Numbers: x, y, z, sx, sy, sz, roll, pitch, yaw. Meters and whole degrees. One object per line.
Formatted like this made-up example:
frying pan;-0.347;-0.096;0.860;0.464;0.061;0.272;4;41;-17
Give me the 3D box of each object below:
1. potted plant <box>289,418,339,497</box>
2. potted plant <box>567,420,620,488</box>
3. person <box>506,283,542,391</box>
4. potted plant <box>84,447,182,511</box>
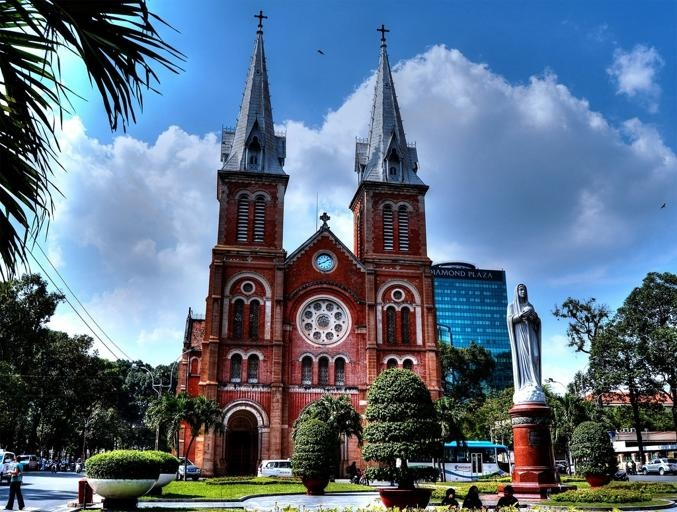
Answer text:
potted plant;-1.101;9.178;29.008;1.857;3.215;1.031;0;-18;-6
potted plant;10.454;8.168;26.275;1.532;2.577;1.300;-9;-20;23
person;6.978;3.056;23.960;1.103;3.934;0.674;-6;-18;13
potted plant;-6.925;7.271;20.578;2.216;1.800;0.971;3;-19;-15
